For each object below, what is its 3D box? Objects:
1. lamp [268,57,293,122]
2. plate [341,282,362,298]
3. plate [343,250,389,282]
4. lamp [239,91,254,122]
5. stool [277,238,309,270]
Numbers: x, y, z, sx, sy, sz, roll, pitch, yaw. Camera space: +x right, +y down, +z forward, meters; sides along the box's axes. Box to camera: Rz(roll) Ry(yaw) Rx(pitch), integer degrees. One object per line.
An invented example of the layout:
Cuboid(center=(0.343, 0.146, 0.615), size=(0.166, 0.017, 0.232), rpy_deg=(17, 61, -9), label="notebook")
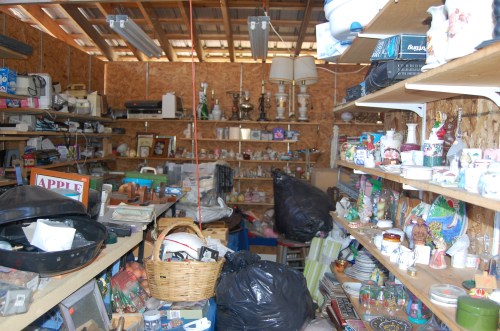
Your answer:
Cuboid(center=(0.418, -1.035, 4.606), size=(0.432, 0.803, 0.403), rpy_deg=(-2, 7, -44), label="lamp")
Cuboid(center=(0.761, 0.917, 2.533), size=(0.152, 0.045, 0.148), rpy_deg=(-1, 7, 3), label="plate")
Cuboid(center=(0.904, 0.795, 2.658), size=(0.266, 0.092, 0.244), rpy_deg=(-3, 4, -28), label="plate")
Cuboid(center=(-0.072, -1.004, 5.661), size=(0.303, 0.486, 0.284), rpy_deg=(-1, 8, -24), label="lamp")
Cuboid(center=(0.449, 1.000, 4.146), size=(0.417, 0.463, 0.391), rpy_deg=(1, 8, -6), label="stool")
